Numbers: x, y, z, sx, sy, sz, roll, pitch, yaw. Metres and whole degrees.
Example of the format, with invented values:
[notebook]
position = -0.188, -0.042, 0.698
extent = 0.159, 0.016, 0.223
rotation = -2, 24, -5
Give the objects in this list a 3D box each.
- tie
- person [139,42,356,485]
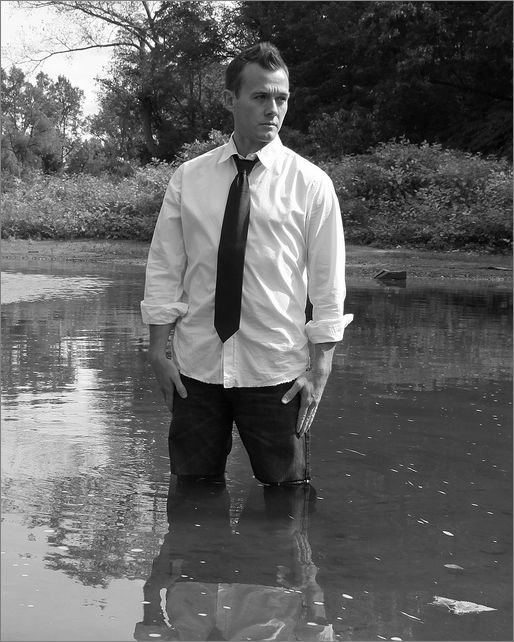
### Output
[tie]
position = -0.078, -0.223, 2.434
extent = 0.095, 0.583, 0.025
rotation = 6, 13, 5
[person]
position = -0.042, -0.163, 2.576
extent = 0.735, 1.542, 0.330
rotation = 3, 5, 7
